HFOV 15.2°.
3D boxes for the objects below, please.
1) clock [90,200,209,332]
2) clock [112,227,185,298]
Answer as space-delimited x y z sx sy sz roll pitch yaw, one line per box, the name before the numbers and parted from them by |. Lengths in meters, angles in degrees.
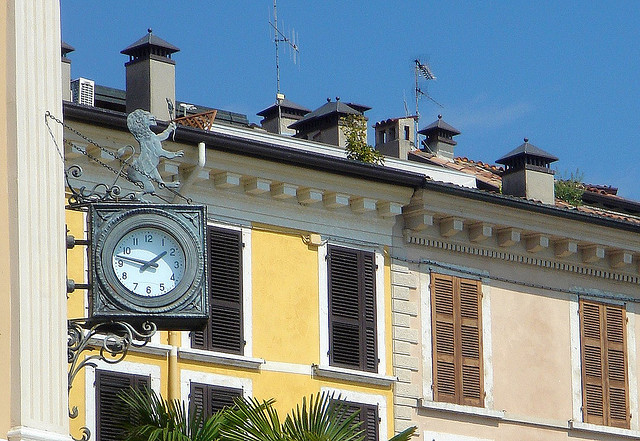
clock | -2.479 0.710 33.295 1.984 1.748 0.681 6 -19 -22
clock | -2.427 0.600 33.311 1.019 1.027 0.111 9 -23 -14
